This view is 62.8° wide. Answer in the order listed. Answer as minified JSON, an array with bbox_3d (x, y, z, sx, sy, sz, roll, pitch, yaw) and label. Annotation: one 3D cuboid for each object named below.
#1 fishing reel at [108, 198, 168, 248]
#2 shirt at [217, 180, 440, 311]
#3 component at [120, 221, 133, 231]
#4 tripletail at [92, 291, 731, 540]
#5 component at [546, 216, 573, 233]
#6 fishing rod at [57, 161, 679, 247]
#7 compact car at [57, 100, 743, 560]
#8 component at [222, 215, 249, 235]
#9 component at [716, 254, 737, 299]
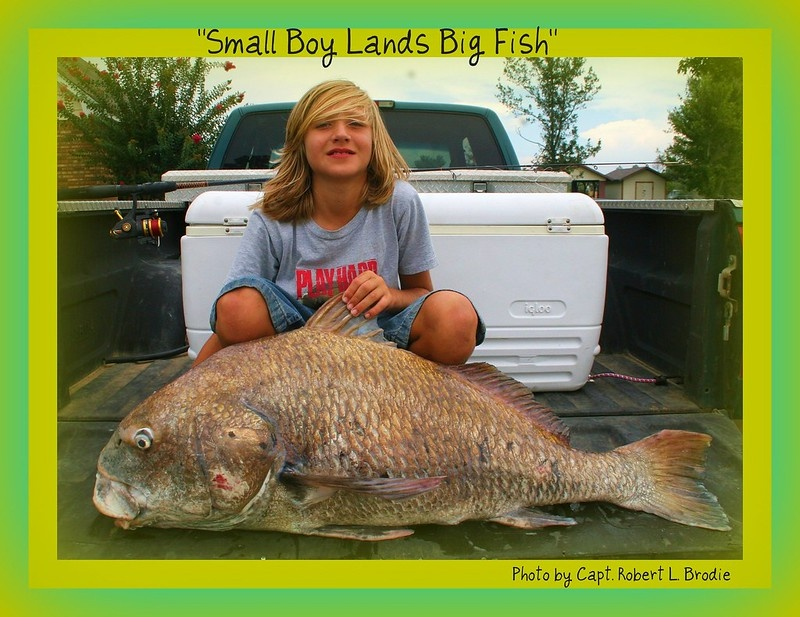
[{"bbox_3d":[-1.323,-0.435,3.351,0.312,0.198,0.270,-1,3,4],"label":"fishing reel"},{"bbox_3d":[-0.263,-0.273,2.741,0.871,0.487,0.386,-6,19,-8],"label":"shirt"},{"bbox_3d":[-1.355,-0.407,3.231,0.052,0.042,0.012,-2,10,-8],"label":"component"},{"bbox_3d":[0.030,0.446,2.211,2.037,0.606,0.633,2,-9,1],"label":"tripletail"},{"bbox_3d":[0.704,-0.369,2.910,0.110,0.061,0.064,0,0,3],"label":"component"},{"bbox_3d":[-0.129,-0.503,3.194,2.858,0.392,0.145,0,26,3],"label":"fishing rod"},{"bbox_3d":[-0.031,-0.189,3.373,2.293,1.218,2.810,1,7,-2],"label":"compact car"},{"bbox_3d":[-0.732,-0.369,2.897,0.104,0.057,0.094,0,4,-4],"label":"component"},{"bbox_3d":[1.461,-0.142,2.930,0.040,0.197,0.076,-10,16,-13],"label":"component"}]
